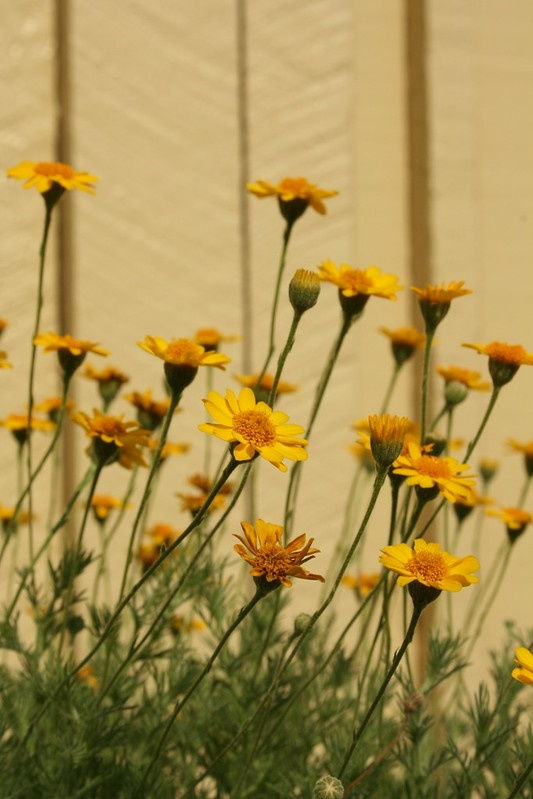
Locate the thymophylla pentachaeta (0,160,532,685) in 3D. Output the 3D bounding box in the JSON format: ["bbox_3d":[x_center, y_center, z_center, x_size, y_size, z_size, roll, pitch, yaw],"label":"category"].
[{"bbox_3d":[0.000,0.017,1.890,0.583,0.528,0.562,13,12,-45],"label":"thymophylla pentachaeta"}]
